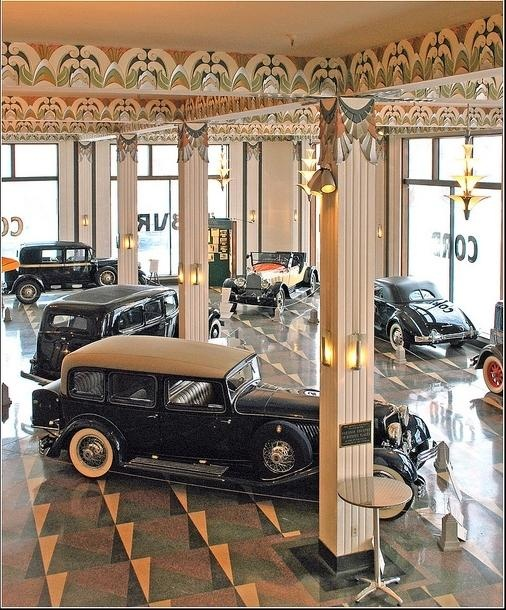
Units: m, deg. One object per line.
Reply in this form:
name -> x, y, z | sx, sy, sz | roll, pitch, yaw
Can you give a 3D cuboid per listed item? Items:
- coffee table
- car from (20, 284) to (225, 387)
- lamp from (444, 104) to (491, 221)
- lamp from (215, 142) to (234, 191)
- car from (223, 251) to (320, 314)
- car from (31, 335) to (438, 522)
coffee table -> 0.981, 1.707, 3.875 | 0.667, 0.941, 0.744 | 2, 13, 24
car -> -2.293, 0.161, 8.613 | 1.564, 1.418, 3.068 | 7, 15, 38
lamp -> 3.857, -2.479, 8.511 | 0.595, 1.722, 0.665 | -3, 7, -2
lamp -> -1.013, -4.604, 15.697 | 0.433, 1.363, 0.432 | 5, 9, 35
car -> 0.649, -0.775, 15.275 | 1.543, 1.531, 3.562 | 1, 5, 23
car -> -0.847, 1.263, 5.354 | 3.240, 1.548, 0.860 | 1, 7, 17
